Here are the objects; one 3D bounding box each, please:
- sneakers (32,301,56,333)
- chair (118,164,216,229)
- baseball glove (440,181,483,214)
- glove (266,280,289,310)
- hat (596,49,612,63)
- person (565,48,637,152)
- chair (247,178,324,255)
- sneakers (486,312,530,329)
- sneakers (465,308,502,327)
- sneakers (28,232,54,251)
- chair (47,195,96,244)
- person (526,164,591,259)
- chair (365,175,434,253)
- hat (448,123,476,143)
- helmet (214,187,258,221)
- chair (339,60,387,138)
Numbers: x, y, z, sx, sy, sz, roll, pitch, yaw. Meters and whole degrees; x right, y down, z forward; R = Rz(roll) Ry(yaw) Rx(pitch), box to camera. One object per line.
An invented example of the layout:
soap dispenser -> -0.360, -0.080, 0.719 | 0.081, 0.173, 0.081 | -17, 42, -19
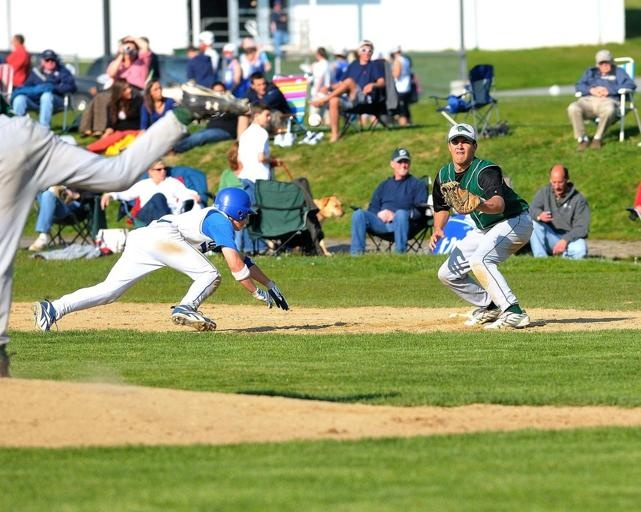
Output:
sneakers -> -3.996, 0.849, 25.856 | 0.252, 0.595, 0.201 | -2, -16, -31
chair -> -2.711, -1.142, 31.623 | 1.131, 1.219, 1.365 | 6, 23, 22
baseball glove -> 1.991, -0.825, 25.236 | 0.578, 0.451, 0.293 | -2, 5, 3
glove -> -0.667, 0.611, 26.454 | 0.175, 0.540, 0.233 | -29, 21, 19
hat -> 5.404, -3.777, 34.264 | 0.267, 0.250, 0.441 | -7, 5, 16
person -> 5.333, -2.963, 34.202 | 1.259, 1.840, 0.889 | -1, 5, 11
chair -> -0.801, -0.378, 31.773 | 1.337, 1.603, 1.426 | -9, -14, 8
sneakers -> 2.732, 0.907, 26.233 | 0.645, 0.312, 0.231 | 0, 2, 3
sneakers -> 2.412, 0.885, 26.715 | 0.467, 0.229, 0.242 | -10, 5, 0
sneakers -> -5.025, -0.277, 32.286 | 0.204, 0.250, 0.606 | 5, 9, 11
chair -> -4.467, -0.586, 32.415 | 0.685, 0.828, 0.668 | -15, -11, -23
person -> 4.131, -0.766, 30.974 | 0.972, 1.566, 0.457 | 2, 6, 36
chair -> 1.403, -0.768, 32.473 | 1.219, 1.961, 1.285 | 1, -1, -16
hat -> 2.053, -1.767, 25.829 | 0.364, 0.245, 0.670 | -1, 6, 10
helmet -> -1.239, -0.791, 26.150 | 0.521, 0.413, 0.389 | 22, 8, -26
chair -> 0.945, -3.219, 36.464 | 1.190, 1.714, 1.110 | -3, 3, -33
